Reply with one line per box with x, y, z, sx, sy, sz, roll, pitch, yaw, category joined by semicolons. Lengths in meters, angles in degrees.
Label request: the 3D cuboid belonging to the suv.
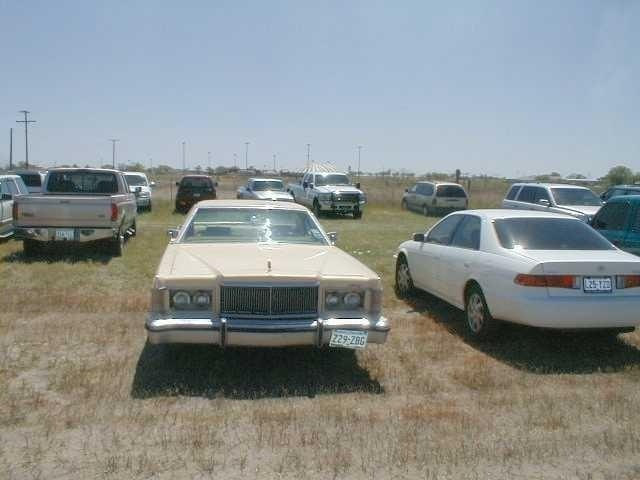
6.888;-1.152;16.261;1.396;1.124;2.697;-1;5;-14;suv

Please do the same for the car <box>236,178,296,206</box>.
-2.233;-2.127;23.928;1.389;1.001;3.055;-1;5;-21;car

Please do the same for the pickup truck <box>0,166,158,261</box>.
-5.443;-0.574;12.765;2.012;2.017;2.728;0;13;-7;pickup truck

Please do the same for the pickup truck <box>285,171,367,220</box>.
0.206;-2.201;25.544;1.755;1.340;3.867;-1;8;-20;pickup truck

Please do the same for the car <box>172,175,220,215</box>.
-5.547;-2.103;25.171;1.507;1.232;2.577;-1;15;-8;car

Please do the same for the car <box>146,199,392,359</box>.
-0.739;0.361;7.354;2.657;1.383;3.019;0;13;-9;car

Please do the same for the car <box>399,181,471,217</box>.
5.573;-2.047;27.809;1.657;1.113;3.086;-1;12;-17;car
